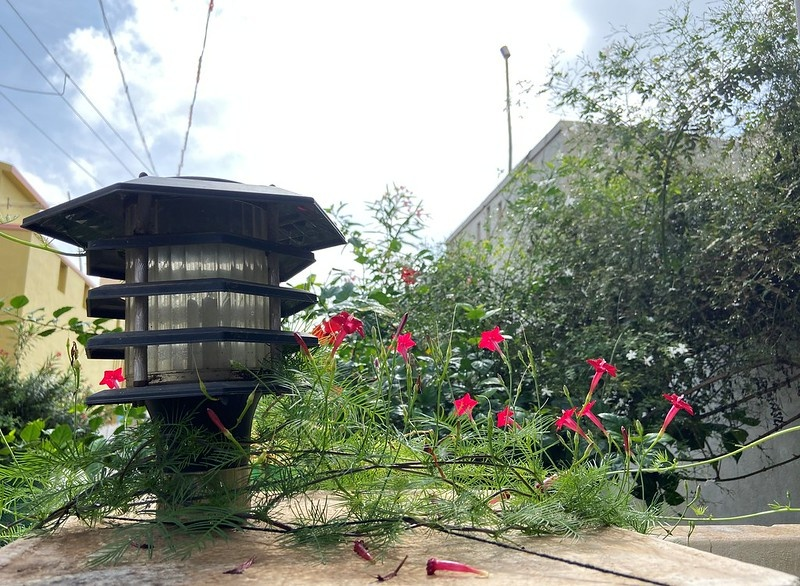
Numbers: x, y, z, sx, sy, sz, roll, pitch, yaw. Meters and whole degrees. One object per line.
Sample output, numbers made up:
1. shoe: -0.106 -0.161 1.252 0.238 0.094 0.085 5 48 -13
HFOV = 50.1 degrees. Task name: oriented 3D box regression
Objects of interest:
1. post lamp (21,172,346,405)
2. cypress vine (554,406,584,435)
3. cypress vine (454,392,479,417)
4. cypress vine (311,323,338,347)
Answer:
1. post lamp: -0.998 0.004 4.047 1.279 0.916 1.191 6 -17 -23
2. cypress vine: 0.786 0.596 3.933 0.111 0.141 0.270 -4 -14 11
3. cypress vine: 0.298 0.510 3.912 0.092 0.123 0.293 -2 -14 4
4. cypress vine: -0.364 0.197 4.032 0.049 0.120 0.118 -16 11 6
